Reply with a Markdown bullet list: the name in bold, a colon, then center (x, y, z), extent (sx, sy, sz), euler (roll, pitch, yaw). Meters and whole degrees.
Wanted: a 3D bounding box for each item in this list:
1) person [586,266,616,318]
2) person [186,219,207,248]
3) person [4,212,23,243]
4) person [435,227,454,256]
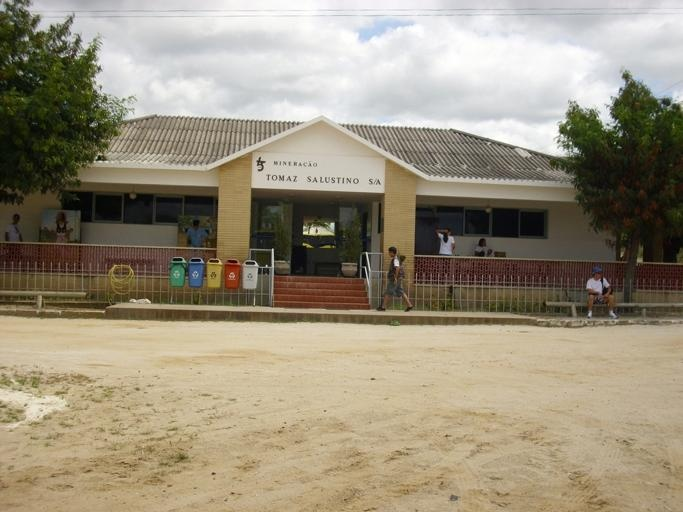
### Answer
- **person**: center (7.630, 1.105, 20.696), extent (0.829, 1.488, 3.038), euler (3, 8, 21)
- **person**: center (-4.742, -0.716, 22.941), extent (0.716, 0.605, 1.826), euler (1, -38, -11)
- **person**: center (-9.970, -0.914, 21.442), extent (0.401, 0.793, 1.579), euler (-3, 9, -26)
- **person**: center (3.360, -0.445, 22.687), extent (0.510, 0.778, 1.511), euler (1, 8, 7)
